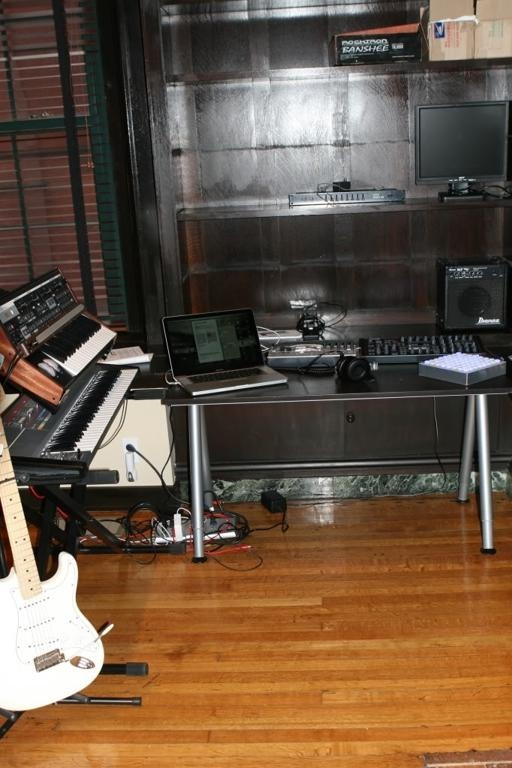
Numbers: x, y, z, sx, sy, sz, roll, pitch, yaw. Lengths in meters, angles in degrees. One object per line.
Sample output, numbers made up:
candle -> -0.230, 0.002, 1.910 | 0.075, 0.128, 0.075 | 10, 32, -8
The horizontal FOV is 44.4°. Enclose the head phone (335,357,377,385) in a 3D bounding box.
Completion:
head phone -> 0.353, -0.059, 2.244 | 0.131, 0.089, 0.160 | -1, 12, 10

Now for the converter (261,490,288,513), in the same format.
converter -> 0.082, 0.509, 2.796 | 0.074, 0.064, 0.130 | -1, 9, -8

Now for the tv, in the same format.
tv -> 0.885, -1.038, 2.700 | 0.395, 0.321, 0.057 | -3, 12, 4

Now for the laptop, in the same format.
laptop -> -0.123, -0.210, 2.221 | 0.390, 0.253, 0.350 | -8, 20, -21

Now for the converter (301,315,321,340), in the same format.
converter -> 0.226, -0.238, 2.641 | 0.101, 0.114, 0.088 | 1, 13, 3
